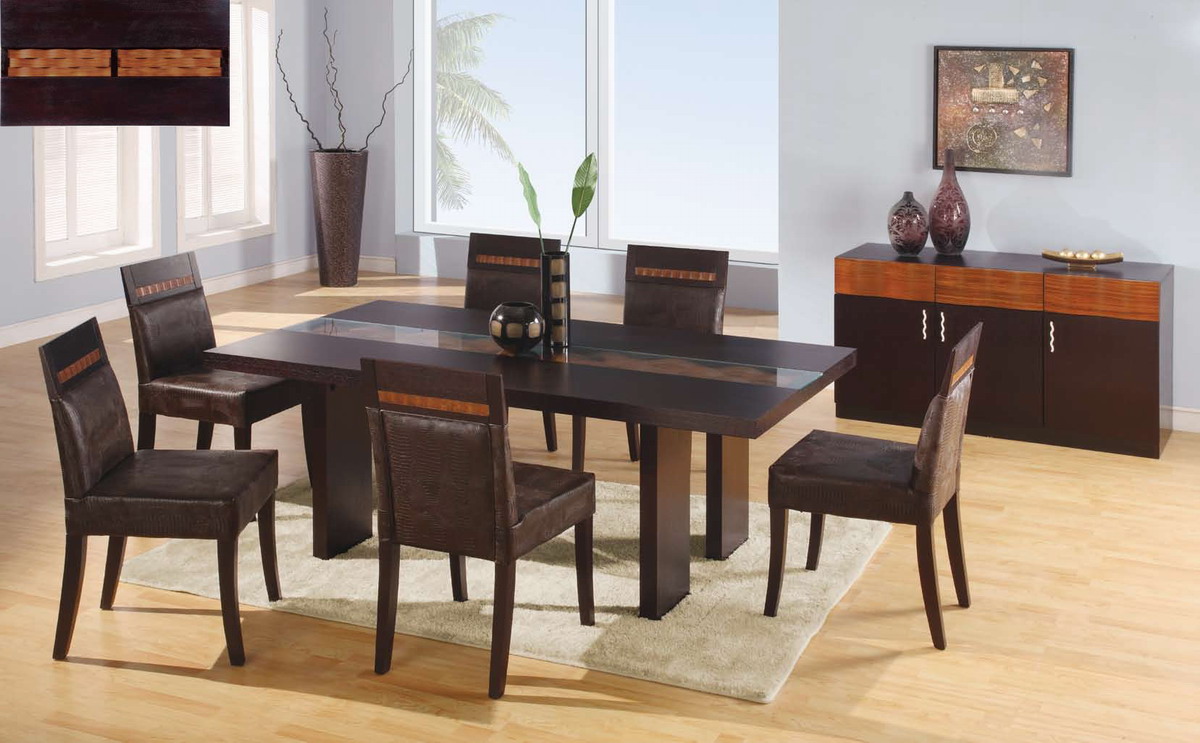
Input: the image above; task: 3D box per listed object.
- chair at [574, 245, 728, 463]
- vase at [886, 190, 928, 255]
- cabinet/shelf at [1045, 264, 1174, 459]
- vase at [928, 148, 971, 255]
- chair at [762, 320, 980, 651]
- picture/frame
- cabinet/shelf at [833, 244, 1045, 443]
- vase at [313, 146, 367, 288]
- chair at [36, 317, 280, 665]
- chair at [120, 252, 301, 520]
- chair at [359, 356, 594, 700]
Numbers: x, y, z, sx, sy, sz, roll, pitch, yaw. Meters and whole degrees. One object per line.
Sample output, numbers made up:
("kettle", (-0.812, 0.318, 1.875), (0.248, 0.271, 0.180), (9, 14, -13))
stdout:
("chair", (0.342, -0.101, 5.083), (0.716, 1.008, 0.729), (26, 49, 33))
("vase", (1.958, -0.939, 5.947), (0.272, 0.379, 0.252), (-5, 18, 3))
("cabinet/shelf", (3.160, -0.096, 5.536), (0.716, 1.014, 0.807), (-14, 14, -33))
("vase", (2.191, -1.037, 5.830), (0.195, 0.657, 0.257), (-8, 18, -41))
("chair", (1.167, 0.467, 4.050), (0.834, 1.112, 0.655), (3, 11, 32))
("picture/frame", (2.563, -1.639, 5.859), (0.904, 0.770, 0.057), (4, 12, 24))
("cabinet/shelf", (2.005, -0.167, 5.474), (1.251, 0.830, 0.464), (4, 9, 23))
("vase", (-2.540, -1.481, 9.077), (0.505, 1.302, 0.436), (1, 14, -13))
("chair", (-1.771, 0.474, 3.876), (0.797, 1.124, 0.708), (4, 8, -10))
("chair", (-1.986, -0.049, 4.904), (0.768, 0.949, 0.635), (13, 19, 16))
("chair", (-0.487, 0.539, 3.864), (0.744, 1.181, 0.854), (5, 9, 30))
